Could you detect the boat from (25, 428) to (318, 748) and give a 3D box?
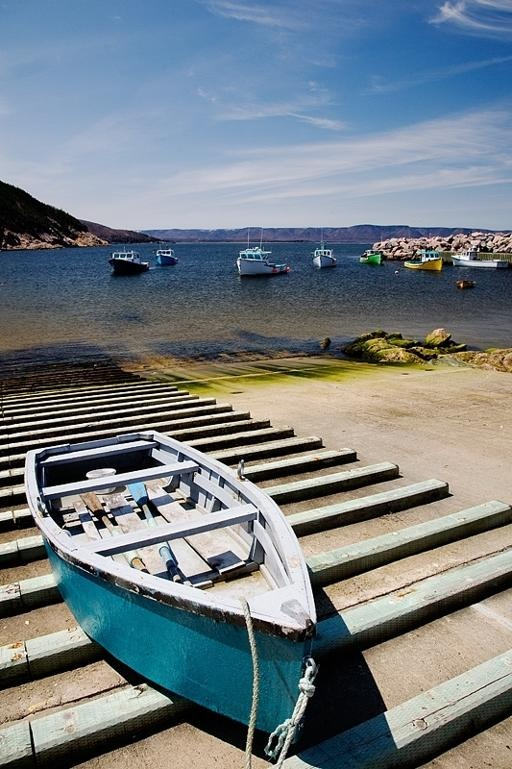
[{"bbox_3d":[-0.592,1.196,3.627,1.087,0.783,2.792,-8,19,-22],"label":"boat"}]

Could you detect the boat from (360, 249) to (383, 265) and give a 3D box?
[{"bbox_3d":[26.288,-28.572,118.244,3.230,2.774,9.199,-7,27,1],"label":"boat"}]

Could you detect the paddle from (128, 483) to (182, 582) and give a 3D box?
[{"bbox_3d":[-0.785,1.128,4.107,0.237,0.082,1.715,-8,15,-15],"label":"paddle"}]
